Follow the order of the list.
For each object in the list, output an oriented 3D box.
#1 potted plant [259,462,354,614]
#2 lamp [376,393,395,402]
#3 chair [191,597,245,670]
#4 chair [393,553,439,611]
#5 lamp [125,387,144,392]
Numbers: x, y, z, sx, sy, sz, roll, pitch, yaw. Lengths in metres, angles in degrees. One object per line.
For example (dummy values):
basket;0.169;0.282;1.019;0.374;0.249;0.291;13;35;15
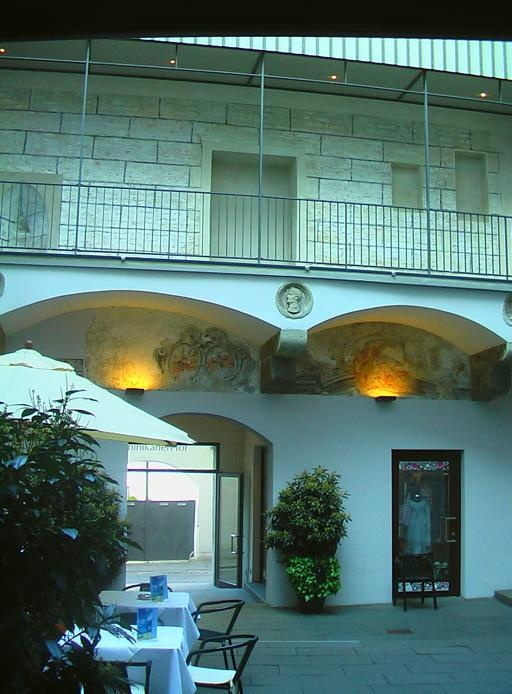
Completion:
potted plant;0.731;2.404;8.579;0.839;1.773;1.093;-11;-16;41
lamp;1.850;0.718;9.539;0.356;0.095;0.246;2;-11;-9
chair;-0.340;2.522;5.954;0.442;0.514;0.438;-3;-8;-13
chair;2.113;3.095;9.079;0.491;0.612;0.479;6;-17;-14
lamp;-1.602;0.560;8.989;0.149;0.067;0.063;3;-3;-4
